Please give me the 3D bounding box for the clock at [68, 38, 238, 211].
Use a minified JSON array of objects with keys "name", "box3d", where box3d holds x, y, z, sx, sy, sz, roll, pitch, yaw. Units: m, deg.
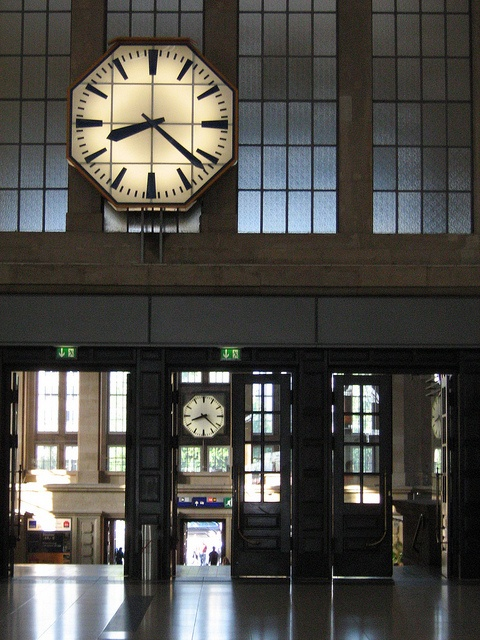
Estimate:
[{"name":"clock","box3d":[-1.213,-2.611,16.671,1.380,2.281,0.240,-1,4,3]}]
